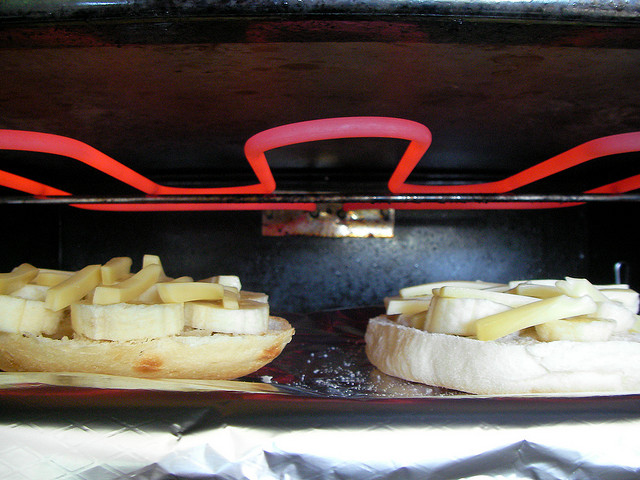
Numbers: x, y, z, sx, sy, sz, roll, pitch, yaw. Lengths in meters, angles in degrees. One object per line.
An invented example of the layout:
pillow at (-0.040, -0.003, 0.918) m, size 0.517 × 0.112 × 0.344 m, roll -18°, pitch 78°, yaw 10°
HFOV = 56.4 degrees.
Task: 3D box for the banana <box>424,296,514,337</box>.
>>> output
banana at (0.188, 0.101, 0.775) m, size 0.092 × 0.067 × 0.050 m, roll 9°, pitch 79°, yaw 1°

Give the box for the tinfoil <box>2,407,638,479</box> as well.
tinfoil at (0.002, 0.220, 0.646) m, size 0.693 × 0.016 × 0.073 m, roll 0°, pitch 75°, yaw -1°

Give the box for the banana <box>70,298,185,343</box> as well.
banana at (-0.228, 0.098, 0.772) m, size 0.186 × 0.108 × 0.044 m, roll 4°, pitch 94°, yaw 29°

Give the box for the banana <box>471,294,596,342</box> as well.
banana at (0.266, 0.092, 0.726) m, size 0.153 × 0.042 × 0.030 m, roll -23°, pitch 85°, yaw 37°

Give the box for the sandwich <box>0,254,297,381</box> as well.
sandwich at (-0.211, 0.103, 0.788) m, size 0.430 × 0.145 × 0.086 m, roll 4°, pitch 106°, yaw -9°

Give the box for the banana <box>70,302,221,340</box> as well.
banana at (-0.259, 0.098, 0.774) m, size 0.185 × 0.134 × 0.023 m, roll 2°, pitch 89°, yaw -5°

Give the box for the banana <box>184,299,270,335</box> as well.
banana at (-0.123, 0.099, 0.757) m, size 0.112 × 0.133 × 0.031 m, roll 7°, pitch 88°, yaw 4°
